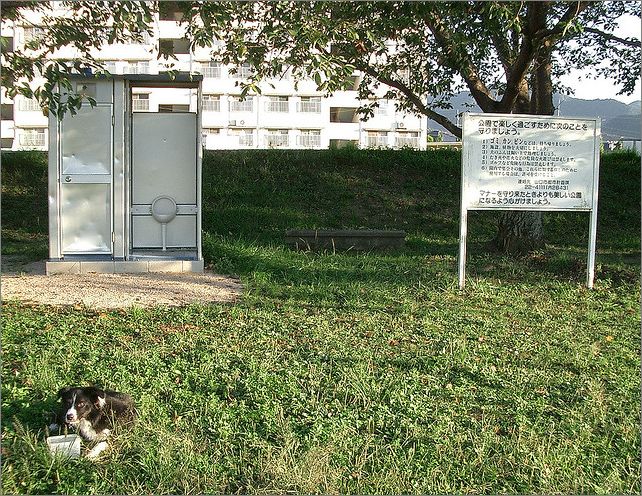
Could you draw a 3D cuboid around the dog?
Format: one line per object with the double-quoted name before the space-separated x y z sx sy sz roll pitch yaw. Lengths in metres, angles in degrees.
"dog" -2.411 1.617 6.378 0.661 0.490 1.018 2 -1 -12
